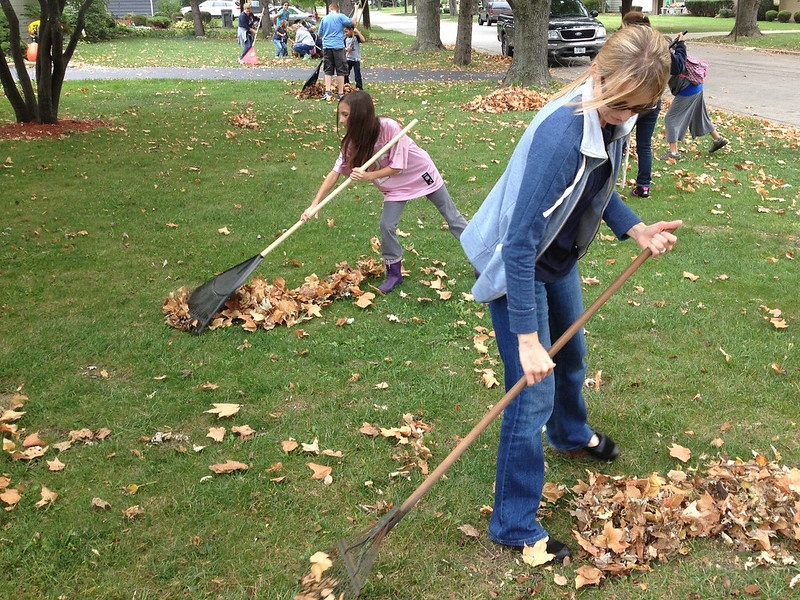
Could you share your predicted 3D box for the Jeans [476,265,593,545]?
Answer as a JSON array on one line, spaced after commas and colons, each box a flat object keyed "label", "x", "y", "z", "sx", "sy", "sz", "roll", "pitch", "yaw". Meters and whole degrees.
[{"label": "Jeans", "x": 0.912, "y": 0.755, "z": 5.185, "sx": 0.519, "sy": 2.274, "sz": 1.052, "roll": 5, "pitch": 28, "yaw": 29}]

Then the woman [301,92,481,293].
[{"label": "woman", "x": -0.052, "y": -1.063, "z": 7.596, "sx": 2.060, "sy": 1.856, "sz": 0.579, "roll": -11, "pitch": 19, "yaw": -25}]

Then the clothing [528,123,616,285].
[{"label": "clothing", "x": 1.041, "y": -0.639, "z": 4.967, "sx": 0.338, "sy": 0.863, "sz": 0.631, "roll": 38, "pitch": 23, "yaw": 24}]

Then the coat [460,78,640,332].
[{"label": "coat", "x": 0.880, "y": -0.575, "z": 4.713, "sx": 0.982, "sy": 1.441, "sz": 0.695, "roll": 5, "pitch": 22, "yaw": 11}]

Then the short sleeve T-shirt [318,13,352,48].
[{"label": "short sleeve T-shirt", "x": -1.276, "y": -5.317, "z": 15.295, "sx": 0.662, "sy": 0.666, "sz": 0.518, "roll": -7, "pitch": 23, "yaw": -18}]

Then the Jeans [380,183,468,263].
[{"label": "Jeans", "x": 0.229, "y": -0.788, "z": 8.163, "sx": 0.830, "sy": 0.897, "sz": 0.346, "roll": -35, "pitch": 42, "yaw": -5}]

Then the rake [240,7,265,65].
[{"label": "rake", "x": -4.659, "y": -8.112, "z": 23.597, "sx": 0.525, "sy": 1.646, "sz": 1.386, "roll": -4, "pitch": 22, "yaw": -10}]
